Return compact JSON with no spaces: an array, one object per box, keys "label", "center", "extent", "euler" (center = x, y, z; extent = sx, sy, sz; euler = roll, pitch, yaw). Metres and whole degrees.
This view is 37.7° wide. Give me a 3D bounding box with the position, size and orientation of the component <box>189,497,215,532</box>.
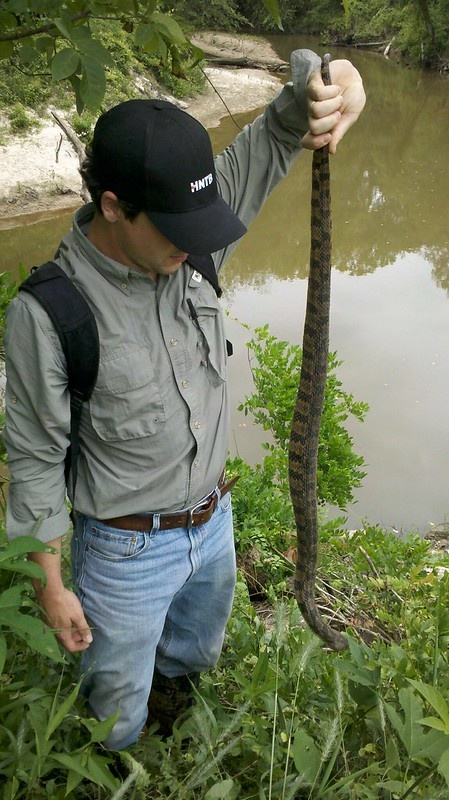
[{"label":"component","center":[-0.086,0.449,2.627],"extent":[0.082,0.113,0.041],"euler":[40,-11,12]}]
